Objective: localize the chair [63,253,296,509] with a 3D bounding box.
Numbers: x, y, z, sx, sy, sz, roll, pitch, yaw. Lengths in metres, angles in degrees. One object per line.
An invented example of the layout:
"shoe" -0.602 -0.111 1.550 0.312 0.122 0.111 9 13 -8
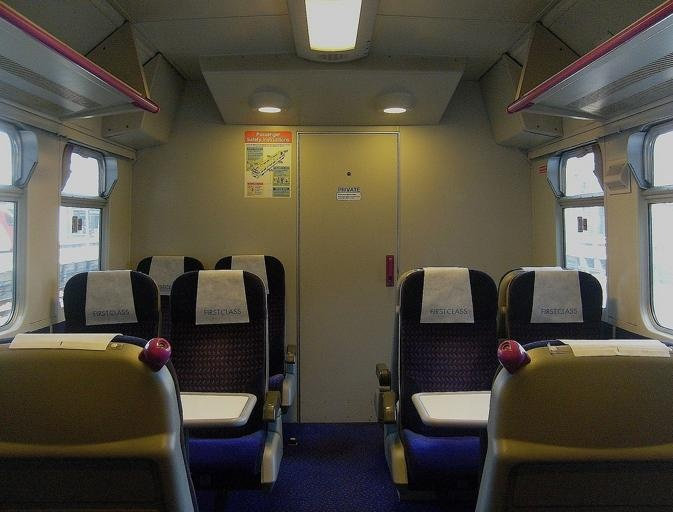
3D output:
"chair" -1.193 0.905 3.806 1.256 1.888 1.585 -3 -12 -3
